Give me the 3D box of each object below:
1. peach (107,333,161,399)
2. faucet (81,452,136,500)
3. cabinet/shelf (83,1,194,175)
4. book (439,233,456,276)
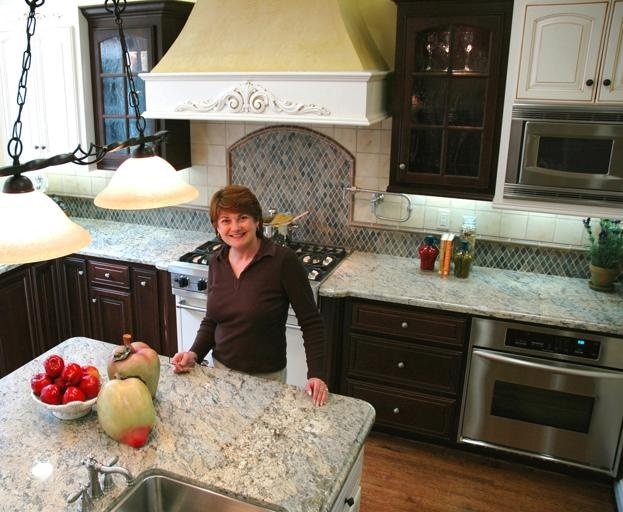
[{"bbox_3d":[-0.654,0.414,1.794,0.193,0.227,0.189,0,14,18],"label":"peach"},{"bbox_3d":[-0.595,0.643,1.421,0.214,0.100,0.080,3,2,23],"label":"faucet"},{"bbox_3d":[-1.294,-1.417,3.944,0.877,1.750,0.623,8,24,12],"label":"cabinet/shelf"},{"bbox_3d":[0.925,0.001,3.266,0.100,0.274,0.190,3,26,10],"label":"book"}]
